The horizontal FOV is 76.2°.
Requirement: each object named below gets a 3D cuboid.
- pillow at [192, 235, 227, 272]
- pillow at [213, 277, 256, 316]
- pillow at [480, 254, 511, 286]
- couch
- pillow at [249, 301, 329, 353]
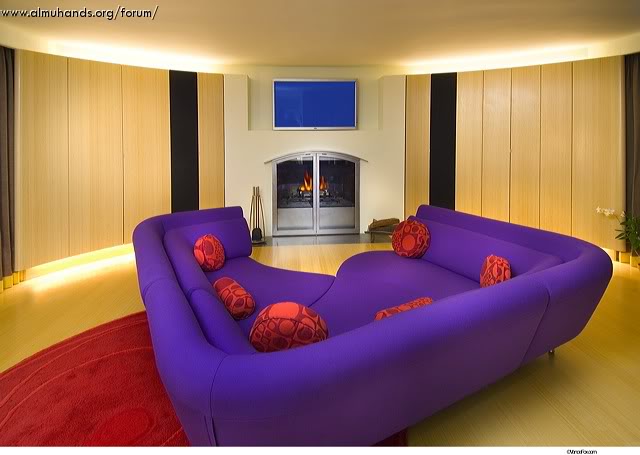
[{"bbox_3d":[-1.060,0.252,3.895,0.081,0.326,0.309,-18,34,40],"label":"pillow"},{"bbox_3d":[-0.710,0.554,3.325,0.253,0.217,0.528,-5,16,-36],"label":"pillow"},{"bbox_3d":[1.369,0.337,3.164,0.138,0.260,0.239,-2,2,-13],"label":"pillow"},{"bbox_3d":[0.232,0.458,3.168,3.052,0.897,2.271,-9,16,-23],"label":"couch"},{"bbox_3d":[-0.182,0.574,2.331,0.341,0.227,0.283,-1,6,2],"label":"pillow"}]
